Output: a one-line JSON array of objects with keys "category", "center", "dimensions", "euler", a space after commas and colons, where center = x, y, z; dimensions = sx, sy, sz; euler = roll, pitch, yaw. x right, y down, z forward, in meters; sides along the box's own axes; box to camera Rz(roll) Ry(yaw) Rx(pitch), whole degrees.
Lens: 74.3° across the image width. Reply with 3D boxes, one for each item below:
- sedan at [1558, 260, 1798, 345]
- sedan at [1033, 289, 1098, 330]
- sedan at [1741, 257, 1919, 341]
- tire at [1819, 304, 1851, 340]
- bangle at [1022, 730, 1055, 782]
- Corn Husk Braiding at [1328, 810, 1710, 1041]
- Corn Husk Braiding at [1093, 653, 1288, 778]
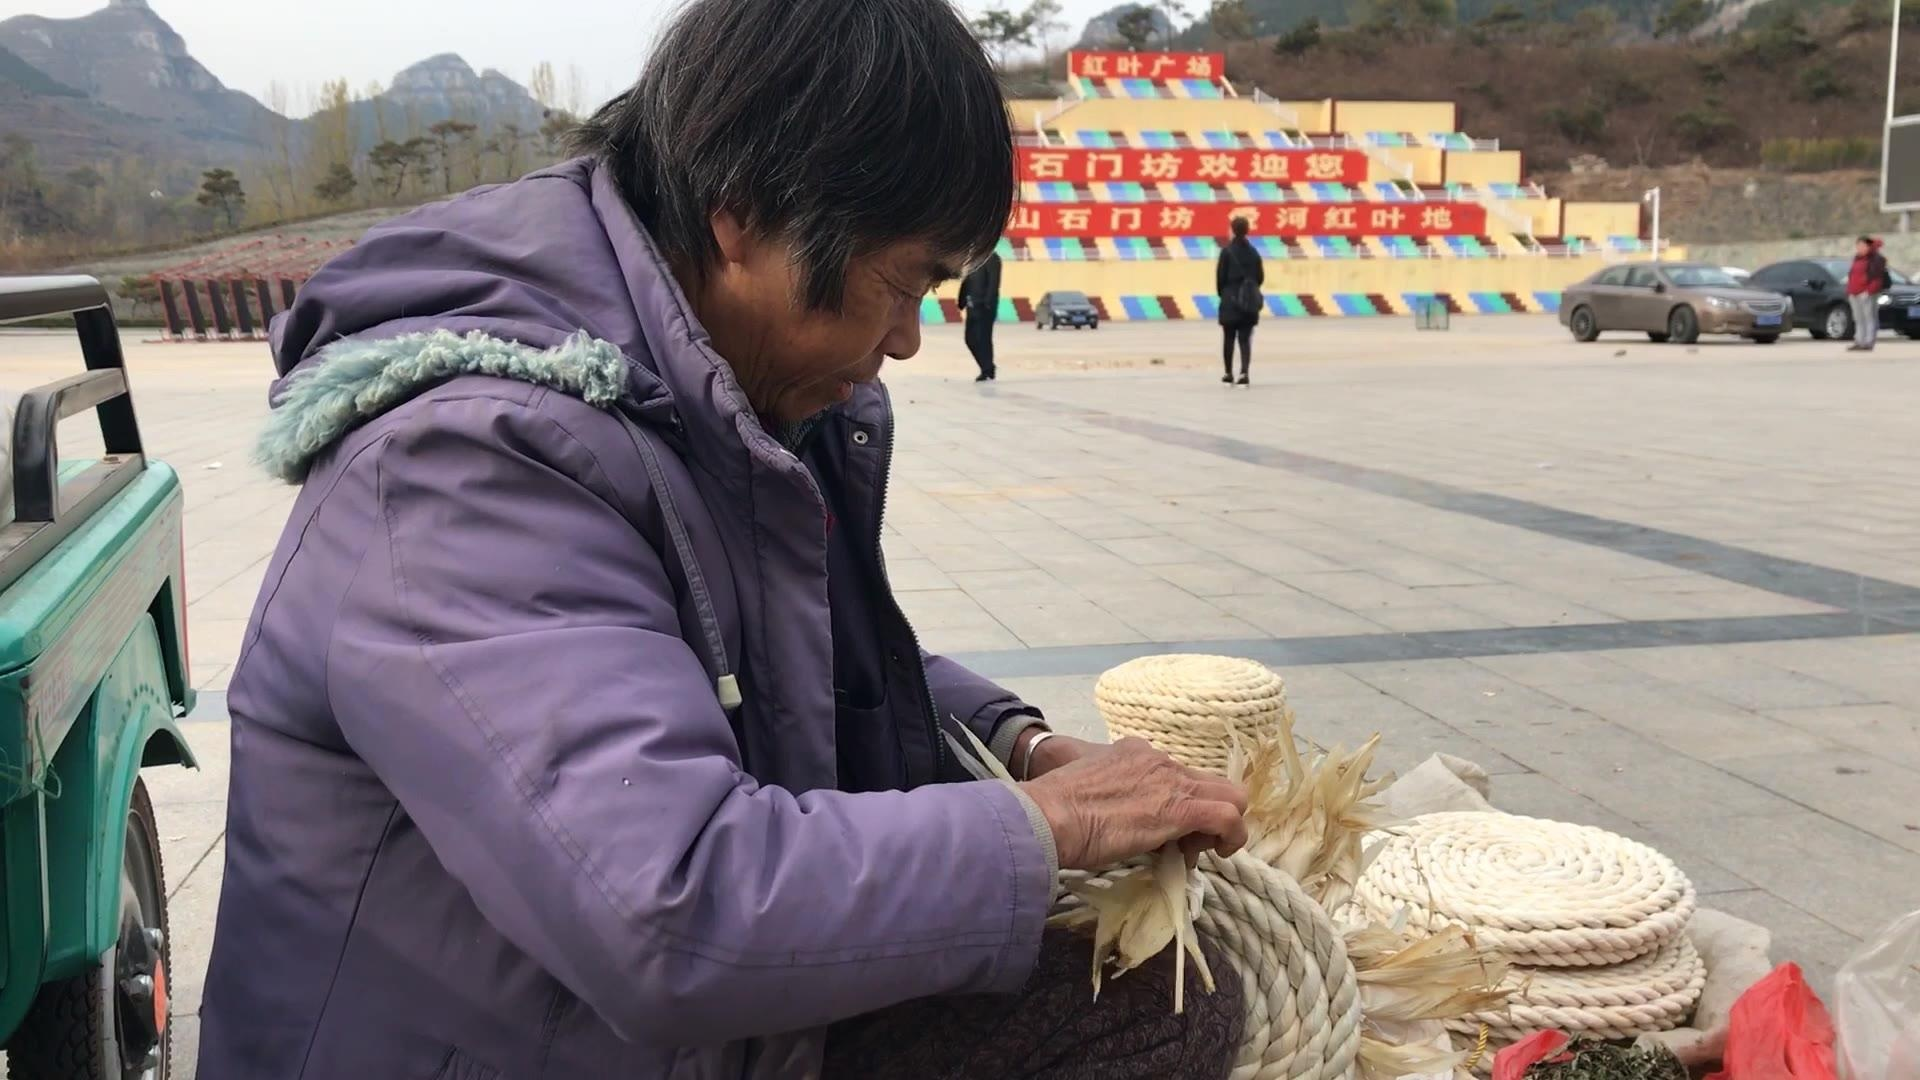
[{"category": "sedan", "center": [12.771, -4.144, 22.604], "dimensions": [1.095, 1.515, 3.641], "euler": [-7, 6, -24]}, {"category": "sedan", "center": [3.006, -6.481, 37.024], "dimensions": [1.155, 0.723, 1.976], "euler": [-2, 1, -11]}, {"category": "sedan", "center": [15.540, -4.237, 22.396], "dimensions": [1.511, 1.006, 2.945], "euler": [-2, 3, -11]}, {"category": "tire", "center": [15.612, -3.805, 22.471], "dimensions": [0.214, 0.488, 0.528], "euler": [4, -27, -18]}, {"category": "bangle", "center": [0.147, 0.434, 2.539], "dimensions": [0.025, 0.083, 0.079], "euler": [16, -6, -1]}, {"category": "Corn Husk Braiding", "center": [1.435, 0.919, 3.048], "dimensions": [0.763, 0.250, 0.731], "euler": [-8, 12, -40]}, {"category": "Corn Husk Braiding", "center": [0.712, 0.518, 3.973], "dimensions": [0.513, 0.209, 0.428], "euler": [-1, 0, 34]}]
